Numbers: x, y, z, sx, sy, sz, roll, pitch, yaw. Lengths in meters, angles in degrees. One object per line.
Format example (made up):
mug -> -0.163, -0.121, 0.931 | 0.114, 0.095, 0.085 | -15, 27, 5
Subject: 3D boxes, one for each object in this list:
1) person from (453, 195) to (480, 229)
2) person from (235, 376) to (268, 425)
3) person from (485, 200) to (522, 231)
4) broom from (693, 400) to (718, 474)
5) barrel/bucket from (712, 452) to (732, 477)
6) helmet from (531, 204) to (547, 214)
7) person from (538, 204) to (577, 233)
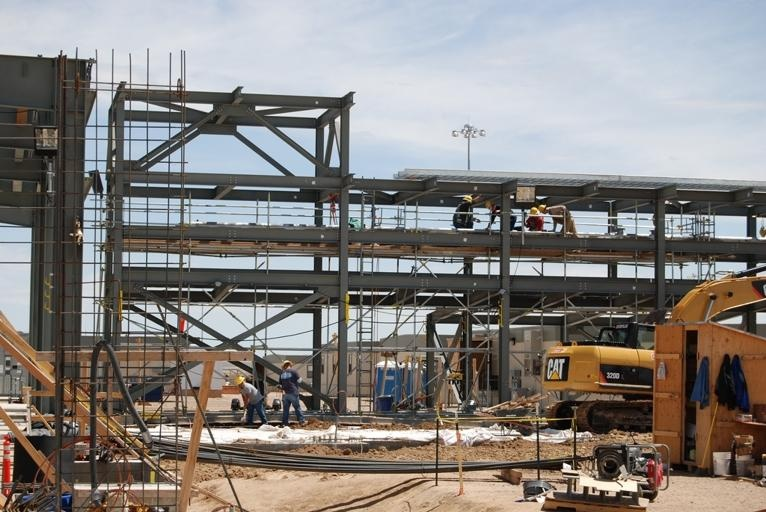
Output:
person -> 2.537, -1.357, 51.267 | 0.616, 1.058, 0.493 | 0, -1, 8
person -> -3.706, 4.118, 45.841 | 0.813, 1.402, 1.945 | 0, -1, -4
person -> 3.758, -1.266, 50.969 | 1.024, 1.005, 3.063 | 0, -2, 3
broom -> 7.619, 4.293, 38.132 | 0.472, 1.615, 0.189 | 0, -1, 8
barrel/bucket -> 7.898, 4.873, 37.880 | 0.531, 0.493, 0.507 | 2, -15, 1
helmet -> 5.010, -1.461, 52.122 | 0.464, 0.208, 0.289 | -6, 11, -19
person -> 5.602, -1.108, 52.143 | 1.151, 1.048, 1.567 | 0, -1, 3
